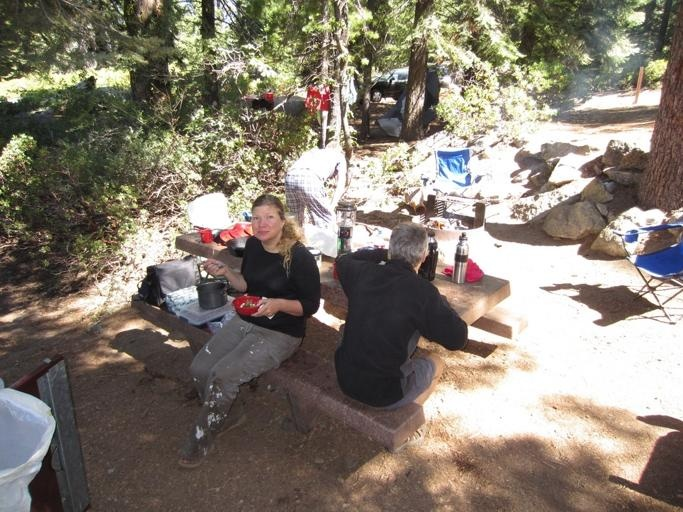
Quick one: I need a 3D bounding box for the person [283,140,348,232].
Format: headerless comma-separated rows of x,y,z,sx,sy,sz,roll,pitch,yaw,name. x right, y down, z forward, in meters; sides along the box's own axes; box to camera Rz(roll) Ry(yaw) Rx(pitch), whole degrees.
-0.291,-0.930,7.252,0.815,1.384,0.824,-12,26,-44,person

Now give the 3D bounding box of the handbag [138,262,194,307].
-2.160,0.276,6.268,0.615,0.551,0.218,-10,-7,-29,handbag

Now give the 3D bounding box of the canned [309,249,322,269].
-0.237,0.032,5.082,0.173,0.146,0.174,13,19,41,canned

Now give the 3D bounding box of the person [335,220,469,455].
0.449,0.530,4.103,1.001,1.462,0.617,2,24,0,person

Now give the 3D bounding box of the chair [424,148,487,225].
2.370,-1.268,10.310,1.192,1.703,1.165,15,23,28,chair

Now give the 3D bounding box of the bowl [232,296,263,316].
-0.820,0.417,4.409,0.243,0.111,0.294,-7,25,-20,bowl

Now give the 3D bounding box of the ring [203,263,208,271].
-1.277,0.098,4.711,0.049,0.060,0.018,9,-7,-31,ring

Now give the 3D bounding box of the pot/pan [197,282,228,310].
-1.448,0.410,5.674,0.280,0.292,0.341,-6,17,-28,pot/pan

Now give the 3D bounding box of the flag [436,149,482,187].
2.386,-1.893,10.528,0.890,0.854,0.374,0,-2,20,flag
